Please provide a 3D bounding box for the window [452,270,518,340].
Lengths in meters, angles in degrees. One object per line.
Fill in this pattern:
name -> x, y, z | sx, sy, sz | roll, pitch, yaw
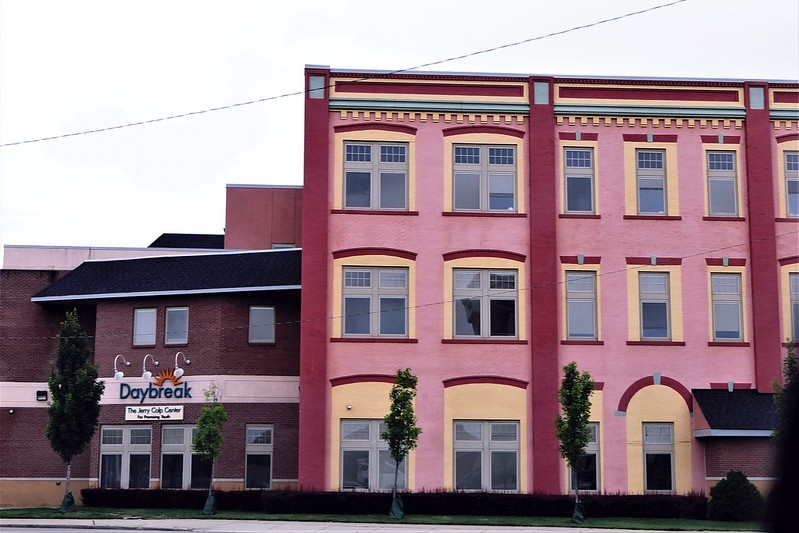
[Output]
window -> 3.641, 1.746, 67.310 | 3.759, 3.161, 0.308 | 0, -8, 2

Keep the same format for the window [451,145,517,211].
window -> 3.605, -3.693, 67.946 | 3.598, 2.819, 0.171 | 0, -8, -2

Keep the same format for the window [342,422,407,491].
window -> -0.965, 7.997, 65.802 | 3.943, 3.459, 0.262 | 0, -8, -1

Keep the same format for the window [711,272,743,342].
window -> 14.059, 1.678, 67.683 | 1.210, 2.828, 0.535 | -1, -14, 6

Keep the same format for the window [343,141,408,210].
window -> -1.106, -3.795, 67.776 | 3.760, 2.930, 0.154 | 0, -6, -2

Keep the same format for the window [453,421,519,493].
window -> 3.573, 8.084, 66.462 | 3.723, 3.131, 0.270 | 0, -7, -2

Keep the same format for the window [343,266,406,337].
window -> -1.129, 1.579, 67.138 | 3.776, 3.299, 0.186 | 1, -9, -2

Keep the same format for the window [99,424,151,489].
window -> -11.906, 8.340, 68.900 | 3.428, 3.145, 0.316 | 0, -11, 4

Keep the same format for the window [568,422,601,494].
window -> 7.989, 7.968, 66.574 | 0.914, 2.906, 0.396 | 0, -14, 4
